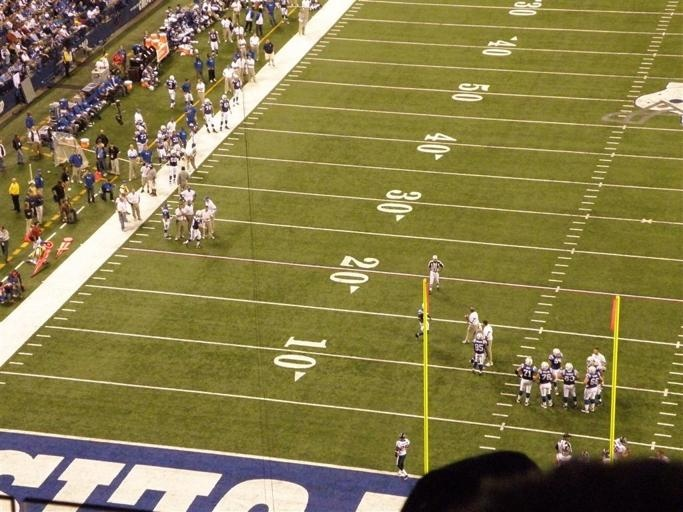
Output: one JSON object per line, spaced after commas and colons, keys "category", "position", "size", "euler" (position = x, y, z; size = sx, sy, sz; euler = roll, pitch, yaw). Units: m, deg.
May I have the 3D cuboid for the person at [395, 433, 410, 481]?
{"category": "person", "position": [1.686, 5.526, 43.450], "size": [0.467, 0.974, 0.970], "euler": [8, 4, 3]}

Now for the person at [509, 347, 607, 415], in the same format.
{"category": "person", "position": [6.310, 3.701, 45.159], "size": [2.114, 1.312, 0.618], "euler": [8, 48, 19]}

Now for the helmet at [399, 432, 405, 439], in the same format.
{"category": "helmet", "position": [1.671, 4.974, 43.116], "size": [0.180, 0.081, 0.208], "euler": [6, 3, 1]}

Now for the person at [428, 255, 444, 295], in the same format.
{"category": "person", "position": [2.918, 0.541, 49.090], "size": [0.499, 0.905, 1.352], "euler": [8, 4, 4]}
